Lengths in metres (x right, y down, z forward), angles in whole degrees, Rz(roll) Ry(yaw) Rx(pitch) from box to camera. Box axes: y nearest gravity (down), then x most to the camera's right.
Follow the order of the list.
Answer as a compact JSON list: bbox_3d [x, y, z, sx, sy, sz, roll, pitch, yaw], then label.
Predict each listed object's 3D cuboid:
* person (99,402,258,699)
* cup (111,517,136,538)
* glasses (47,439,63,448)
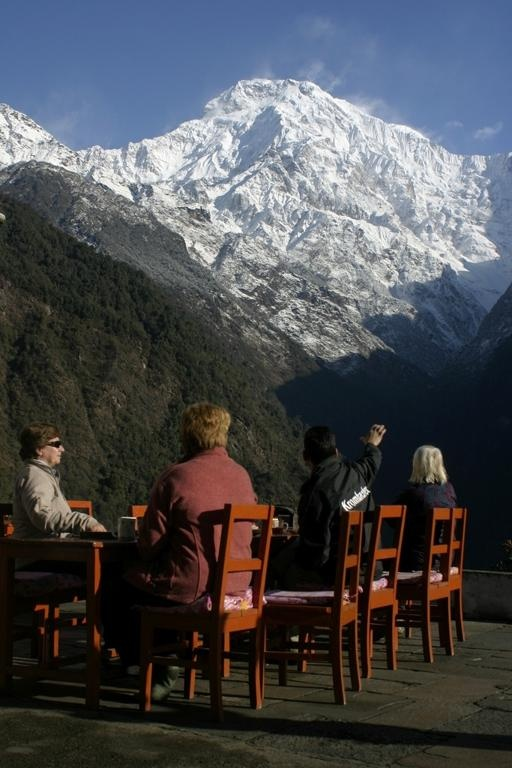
[{"bbox_3d":[-0.276,0.672,3.392,0.496,1.213,0.703,8,-11,-39],"label":"person"},{"bbox_3d":[-0.550,0.593,3.520,0.100,0.109,0.101,2,2,0],"label":"cup"},{"bbox_3d":[-0.962,0.286,4.040,0.075,0.024,0.072,0,0,3],"label":"glasses"}]
